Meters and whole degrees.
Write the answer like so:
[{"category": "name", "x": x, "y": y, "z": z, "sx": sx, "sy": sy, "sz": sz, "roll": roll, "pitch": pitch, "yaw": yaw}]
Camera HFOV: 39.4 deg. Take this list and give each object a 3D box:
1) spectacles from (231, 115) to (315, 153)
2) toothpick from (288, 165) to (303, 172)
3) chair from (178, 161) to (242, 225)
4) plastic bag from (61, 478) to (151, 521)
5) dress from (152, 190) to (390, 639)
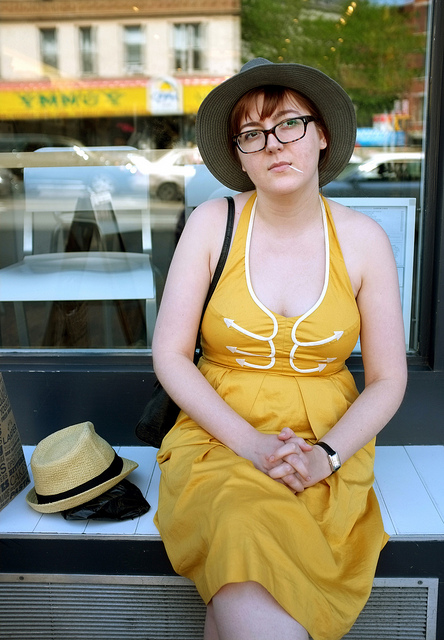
[{"category": "spectacles", "x": 0.132, "y": -0.485, "z": 1.610, "sx": 0.212, "sy": 0.089, "sz": 0.119, "roll": 0, "pitch": 16, "yaw": 5}, {"category": "toothpick", "x": 0.185, "y": -0.384, "z": 1.560, "sx": 0.039, "sy": 0.004, "sz": 0.004, "roll": 29, "pitch": 3, "yaw": -10}, {"category": "chair", "x": -0.057, "y": -0.633, "z": 3.057, "sx": 0.270, "sy": 0.370, "sz": 0.401, "roll": 3, "pitch": 7, "yaw": 17}, {"category": "plastic bag", "x": -0.334, "y": 0.541, "z": 1.816, "sx": 0.233, "sy": 0.083, "sz": 0.115, "roll": -10, "pitch": 17, "yaw": -29}, {"category": "dress", "x": 0.144, "y": 0.183, "z": 1.510, "sx": 0.632, "sy": 0.878, "sz": 0.808, "roll": -6, "pitch": 16, "yaw": -13}]
